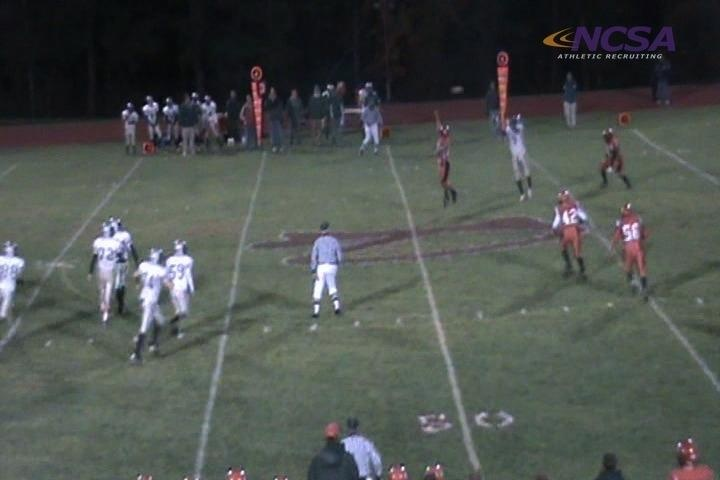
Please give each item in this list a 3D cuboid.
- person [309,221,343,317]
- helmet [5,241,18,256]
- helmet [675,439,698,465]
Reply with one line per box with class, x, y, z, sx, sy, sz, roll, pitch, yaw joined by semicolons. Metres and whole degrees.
person;-0.976;0.755;24.338;0.921;2.661;1.559;-5;8;-4
helmet;-9.709;0.228;24.596;0.298;0.152;0.271;-16;-27;23
helmet;6.306;4.038;17.205;0.396;0.538;0.487;-1;10;6
